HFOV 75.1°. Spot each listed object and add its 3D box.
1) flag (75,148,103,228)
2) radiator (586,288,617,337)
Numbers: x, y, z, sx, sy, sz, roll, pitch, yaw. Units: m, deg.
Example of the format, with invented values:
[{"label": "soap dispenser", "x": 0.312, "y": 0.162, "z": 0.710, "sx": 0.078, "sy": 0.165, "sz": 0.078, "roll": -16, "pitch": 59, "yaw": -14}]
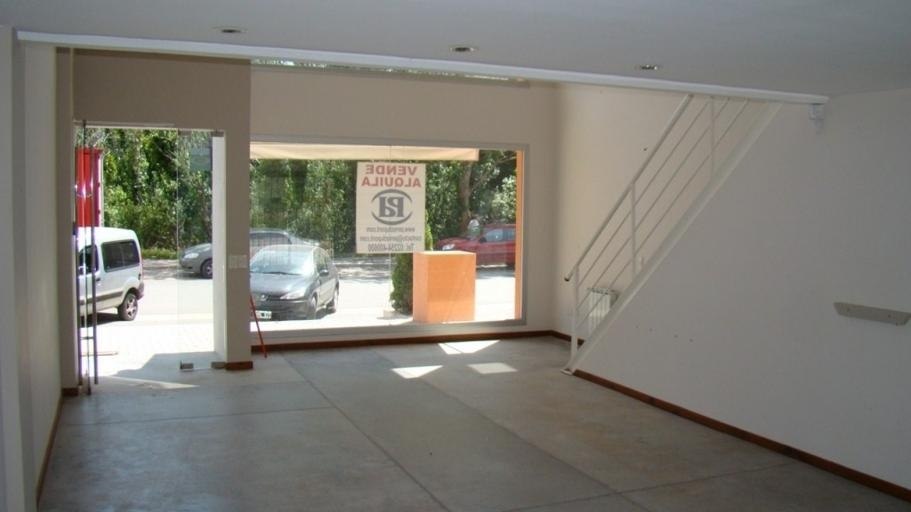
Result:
[{"label": "flag", "x": -4.509, "y": -0.902, "z": 7.393, "sx": 0.308, "sy": 0.887, "sz": 0.311, "roll": 22, "pitch": 22, "yaw": 23}, {"label": "radiator", "x": 2.101, "y": 0.856, "z": 9.101, "sx": 0.241, "sy": 0.688, "sz": 0.674, "roll": -2, "pitch": -6, "yaw": 41}]
